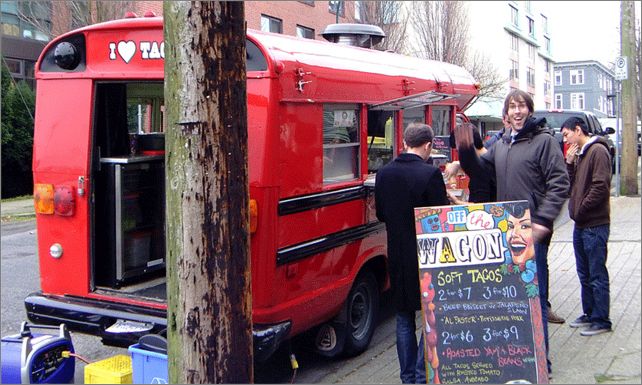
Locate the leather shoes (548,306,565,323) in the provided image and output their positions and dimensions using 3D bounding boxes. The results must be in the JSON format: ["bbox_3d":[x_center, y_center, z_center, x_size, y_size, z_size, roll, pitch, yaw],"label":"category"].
[{"bbox_3d":[3.488,1.886,7.897,0.367,0.159,0.126,2,4,-16],"label":"leather shoes"}]

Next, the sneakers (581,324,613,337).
[{"bbox_3d":[3.889,1.967,7.535,0.492,0.189,0.179,0,-2,-4],"label":"sneakers"}]

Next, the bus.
[{"bbox_3d":[-0.571,-0.398,8.445,3.837,3.427,6.322,5,11,34],"label":"bus"}]

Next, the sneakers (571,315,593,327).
[{"bbox_3d":[3.820,1.920,7.739,0.379,0.152,0.135,0,-3,-20],"label":"sneakers"}]
